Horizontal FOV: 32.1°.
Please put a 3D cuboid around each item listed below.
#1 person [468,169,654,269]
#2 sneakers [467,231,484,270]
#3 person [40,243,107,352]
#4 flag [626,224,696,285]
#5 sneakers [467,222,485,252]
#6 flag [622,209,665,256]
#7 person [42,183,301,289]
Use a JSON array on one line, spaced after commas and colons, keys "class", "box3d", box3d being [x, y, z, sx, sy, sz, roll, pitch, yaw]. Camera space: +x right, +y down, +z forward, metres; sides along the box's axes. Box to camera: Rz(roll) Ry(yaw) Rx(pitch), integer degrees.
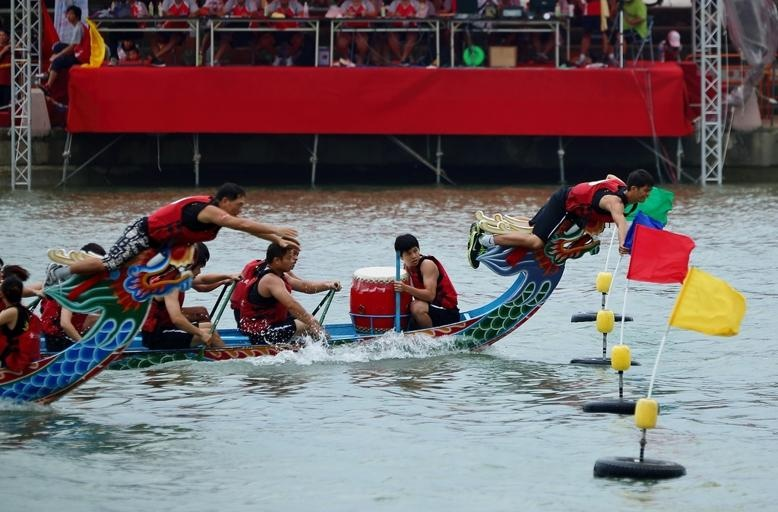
[{"class": "person", "box3d": [2.105, -0.458, 16.284, 2.296, 0.851, 1.251, -3, 10, 16]}, {"class": "sneakers", "box3d": [1.040, -0.069, 16.474, 0.186, 0.426, 0.191, 0, 10, -1]}, {"class": "person", "box3d": [-3.496, 0.507, 14.941, 0.808, 1.255, 0.533, -10, 52, -37]}, {"class": "flag", "box3d": [2.960, 0.001, 14.611, 0.747, 0.578, 0.103, 8, -2, -21]}, {"class": "sneakers", "box3d": [1.063, -0.227, 16.521, 0.249, 0.314, 0.121, 3, 2, -11]}, {"class": "flag", "box3d": [2.873, -0.250, 15.950, 0.202, 0.494, 0.553, 20, 16, 15]}, {"class": "person", "box3d": [-2.443, -0.293, 14.812, 2.838, 0.717, 1.244, -7, 0, -10]}]
